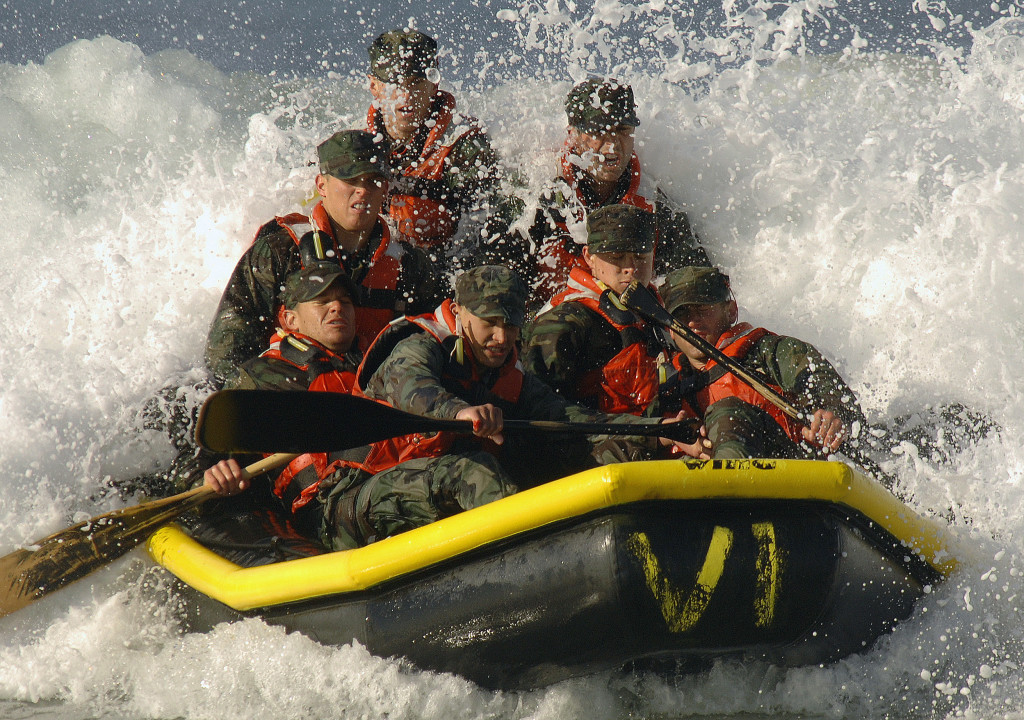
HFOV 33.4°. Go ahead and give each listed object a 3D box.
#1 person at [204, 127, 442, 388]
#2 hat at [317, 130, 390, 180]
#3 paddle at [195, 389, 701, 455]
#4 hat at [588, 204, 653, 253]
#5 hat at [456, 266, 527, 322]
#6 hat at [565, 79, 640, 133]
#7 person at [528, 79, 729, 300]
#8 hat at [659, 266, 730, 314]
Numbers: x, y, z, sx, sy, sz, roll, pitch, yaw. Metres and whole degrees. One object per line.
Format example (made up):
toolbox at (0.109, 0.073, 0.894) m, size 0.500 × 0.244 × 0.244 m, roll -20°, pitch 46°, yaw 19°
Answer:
person at (-1.095, -0.552, 10.239) m, size 1.432 × 1.042 × 2.033 m, roll 3°, pitch 93°, yaw -20°
hat at (-0.975, -1.257, 10.361) m, size 0.433 × 0.590 × 0.304 m, roll -13°, pitch 100°, yaw -23°
paddle at (-0.425, 0.359, 9.083) m, size 2.451 × 0.285 × 0.378 m, roll 1°, pitch 87°, yaw -2°
hat at (0.627, -0.744, 9.888) m, size 0.283 × 0.301 × 0.202 m, roll 1°, pitch 92°, yaw 5°
hat at (-0.104, -0.381, 9.242) m, size 0.397 × 0.563 × 0.260 m, roll 3°, pitch 103°, yaw -20°
hat at (0.541, -1.572, 10.621) m, size 0.428 × 0.182 × 0.389 m, roll -12°, pitch 80°, yaw 2°
person at (0.654, -1.253, 11.025) m, size 0.971 × 1.443 × 1.366 m, roll -9°, pitch 114°, yaw -2°
hat at (1.077, -0.418, 10.106) m, size 0.421 × 0.578 × 0.247 m, roll -4°, pitch 90°, yaw -1°
